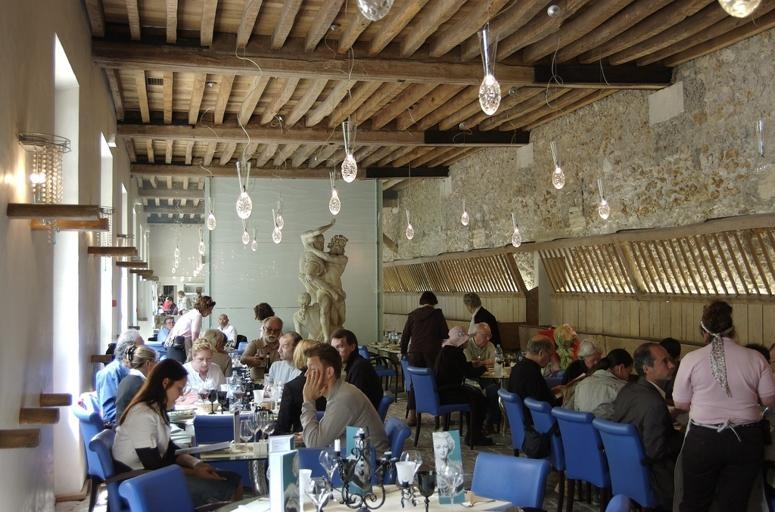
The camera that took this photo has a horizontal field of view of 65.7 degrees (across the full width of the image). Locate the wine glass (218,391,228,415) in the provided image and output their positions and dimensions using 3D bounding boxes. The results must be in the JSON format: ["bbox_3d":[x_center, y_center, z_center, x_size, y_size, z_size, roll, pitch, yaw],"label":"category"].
[{"bbox_3d":[-1.843,1.624,6.720,0.120,0.245,0.278,-1,-6,-16],"label":"wine glass"}]

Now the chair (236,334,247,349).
[{"bbox_3d":[-3.135,1.858,12.992,0.252,0.365,0.309,0,-12,4],"label":"chair"}]

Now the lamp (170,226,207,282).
[{"bbox_3d":[-9.737,-0.158,29.030,1.522,2.521,1.062,-2,-5,-11],"label":"lamp"}]

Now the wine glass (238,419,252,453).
[{"bbox_3d":[-1.269,1.566,5.399,0.090,0.230,0.172,1,-7,-36],"label":"wine glass"}]

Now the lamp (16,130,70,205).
[{"bbox_3d":[-2.859,-0.721,4.979,0.353,0.605,0.193,-3,-5,0],"label":"lamp"}]

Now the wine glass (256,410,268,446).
[{"bbox_3d":[-1.144,1.533,5.442,0.118,0.300,0.286,-1,-6,-15],"label":"wine glass"}]

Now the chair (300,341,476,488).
[{"bbox_3d":[-0.200,1.335,5.462,0.777,1.254,0.919,-17,-15,18],"label":"chair"}]

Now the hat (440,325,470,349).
[{"bbox_3d":[1.083,1.315,9.637,0.421,0.302,0.557,0,-17,7],"label":"hat"}]
